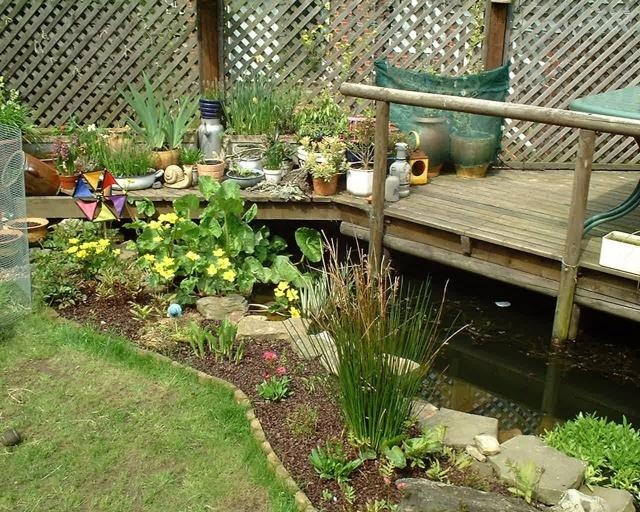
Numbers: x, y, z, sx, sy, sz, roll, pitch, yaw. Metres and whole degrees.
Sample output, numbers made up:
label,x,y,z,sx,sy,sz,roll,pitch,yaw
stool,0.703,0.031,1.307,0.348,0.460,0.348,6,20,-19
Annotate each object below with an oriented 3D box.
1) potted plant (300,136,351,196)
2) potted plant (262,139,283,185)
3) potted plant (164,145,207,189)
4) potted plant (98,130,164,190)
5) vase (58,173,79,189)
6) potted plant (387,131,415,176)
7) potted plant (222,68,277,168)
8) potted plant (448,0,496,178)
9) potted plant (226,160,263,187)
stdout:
label,x,y,z,sx,sy,sz,roll,pitch,yaw
potted plant,0.029,-0.877,4.702,0.400,0.553,0.504,-7,19,-22
potted plant,-0.461,-0.938,4.770,0.203,0.415,0.343,-2,18,-7
potted plant,-1.378,-0.905,4.912,0.526,0.310,0.391,-9,34,-26
potted plant,-1.877,-0.902,4.690,0.560,0.499,0.818,2,16,5
vase,-2.397,-0.721,4.620,0.169,0.098,0.148,1,12,-6
potted plant,0.879,-1.108,5.093,0.221,0.403,0.476,17,24,41
potted plant,-0.748,-1.593,5.218,0.672,0.667,0.475,5,18,13
potted plant,1.832,-1.912,5.480,0.499,1.962,1.020,7,20,19
potted plant,-0.750,-0.819,4.862,0.366,0.241,0.369,-2,17,-10
